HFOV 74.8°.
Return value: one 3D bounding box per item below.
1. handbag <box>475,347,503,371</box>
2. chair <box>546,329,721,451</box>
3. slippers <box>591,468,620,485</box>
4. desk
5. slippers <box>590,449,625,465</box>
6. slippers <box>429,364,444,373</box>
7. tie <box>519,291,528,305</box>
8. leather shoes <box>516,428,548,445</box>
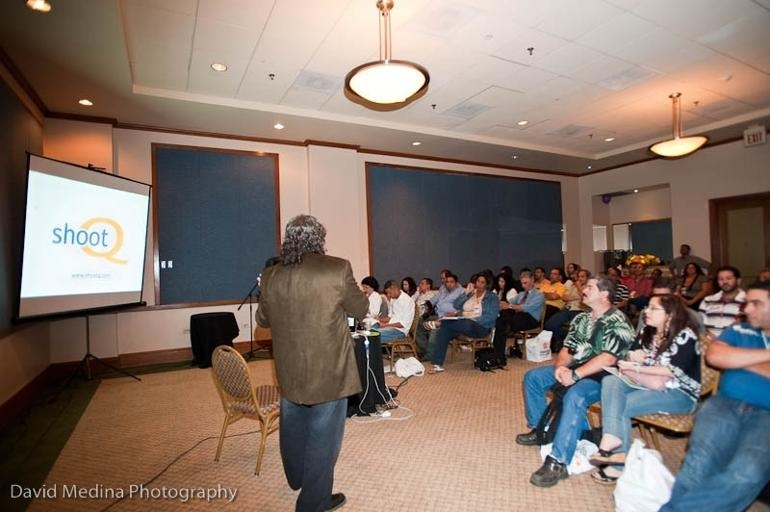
[{"bbox_3d":[1.673,1.682,8.327,0.550,0.299,0.428,-3,18,-10],"label":"handbag"},{"bbox_3d":[2.981,1.501,5.749,1.361,1.835,1.193,15,-20,-27],"label":"chair"},{"bbox_3d":[2.288,2.292,5.227,0.284,0.084,0.133,0,-10,-10],"label":"slippers"},{"bbox_3d":[-0.167,1.613,7.040,0.999,0.948,0.948,-8,-8,-8],"label":"desk"},{"bbox_3d":[2.304,2.098,5.205,0.364,0.138,0.141,1,-41,2],"label":"slippers"},{"bbox_3d":[0.825,1.804,8.092,0.230,0.095,0.097,5,-11,-22],"label":"slippers"},{"bbox_3d":[2.478,0.751,9.013,0.166,0.224,0.122,14,-10,12],"label":"tie"},{"bbox_3d":[1.664,2.092,5.758,0.355,0.215,0.136,1,-7,12],"label":"leather shoes"}]
